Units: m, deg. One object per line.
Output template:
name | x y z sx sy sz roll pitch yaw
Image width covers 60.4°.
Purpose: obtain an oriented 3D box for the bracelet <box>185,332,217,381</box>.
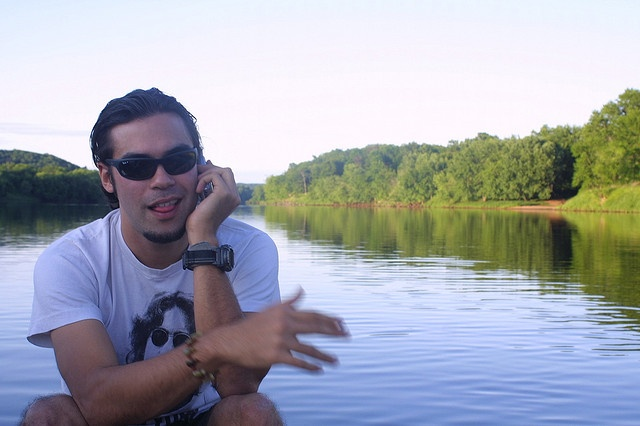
bracelet | -0.902 1.077 4.124 0.224 0.366 0.111 0 -2 -18
